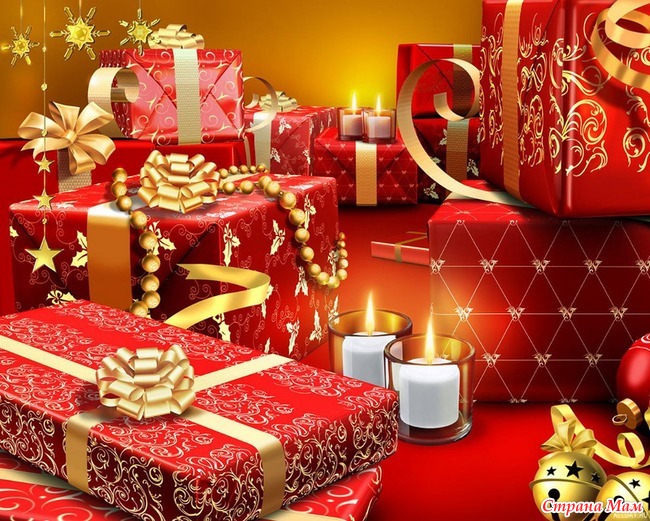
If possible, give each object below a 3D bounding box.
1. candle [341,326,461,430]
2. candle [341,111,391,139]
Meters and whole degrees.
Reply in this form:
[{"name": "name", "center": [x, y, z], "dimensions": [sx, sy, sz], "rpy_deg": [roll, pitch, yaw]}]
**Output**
[{"name": "candle", "center": [0.080, 0.110, 0.592], "dimensions": [0.075, 0.081, 0.086], "rpy_deg": [-1, 13, 3]}, {"name": "candle", "center": [0.078, -0.258, 1.200], "dimensions": [0.102, 0.051, 0.060], "rpy_deg": [9, 15, 39]}]
